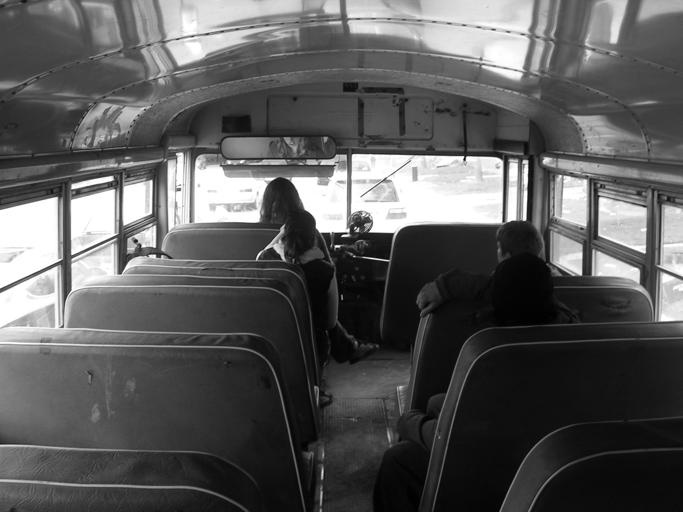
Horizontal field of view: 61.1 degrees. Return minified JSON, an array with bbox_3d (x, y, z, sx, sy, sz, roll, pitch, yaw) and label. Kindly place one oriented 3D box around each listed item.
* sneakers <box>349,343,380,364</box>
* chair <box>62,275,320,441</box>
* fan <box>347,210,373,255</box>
[{"bbox_3d":[0.262,1.002,6.153,0.146,0.202,0.455,-7,13,33],"label":"sneakers"},{"bbox_3d":[-0.711,0.430,2.596,0.860,0.499,0.324,1,9,-1],"label":"chair"},{"bbox_3d":[0.221,-0.285,6.872,0.313,0.507,0.154,3,5,38],"label":"fan"}]
